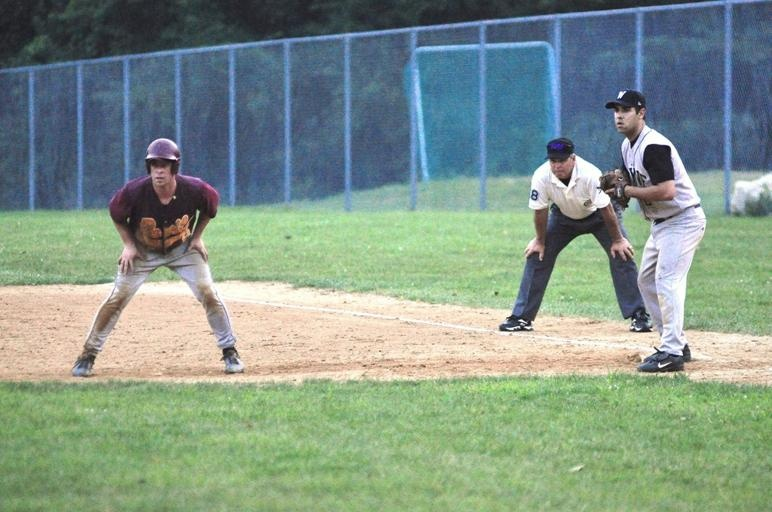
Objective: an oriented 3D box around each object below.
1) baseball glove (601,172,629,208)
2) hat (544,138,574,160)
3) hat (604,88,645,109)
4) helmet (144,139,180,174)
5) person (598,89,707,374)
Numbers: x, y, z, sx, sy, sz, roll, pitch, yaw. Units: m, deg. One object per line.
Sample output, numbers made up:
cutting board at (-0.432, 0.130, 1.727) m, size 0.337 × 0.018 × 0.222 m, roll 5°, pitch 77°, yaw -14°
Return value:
baseball glove at (3.388, -0.989, 20.029) m, size 0.299 × 0.499 × 0.386 m, roll -14°, pitch -1°, yaw 19°
hat at (2.760, -1.679, 21.185) m, size 0.322 × 0.318 × 0.404 m, roll 11°, pitch 17°, yaw 39°
hat at (3.542, -2.329, 19.964) m, size 0.550 × 0.251 × 0.339 m, roll -1°, pitch 5°, yaw -7°
helmet at (-3.310, -1.471, 19.713) m, size 0.495 × 0.435 × 0.547 m, roll 3°, pitch 2°, yaw -4°
person at (4.018, -0.379, 19.953) m, size 1.068 × 4.032 × 1.298 m, roll -11°, pitch 17°, yaw -38°
